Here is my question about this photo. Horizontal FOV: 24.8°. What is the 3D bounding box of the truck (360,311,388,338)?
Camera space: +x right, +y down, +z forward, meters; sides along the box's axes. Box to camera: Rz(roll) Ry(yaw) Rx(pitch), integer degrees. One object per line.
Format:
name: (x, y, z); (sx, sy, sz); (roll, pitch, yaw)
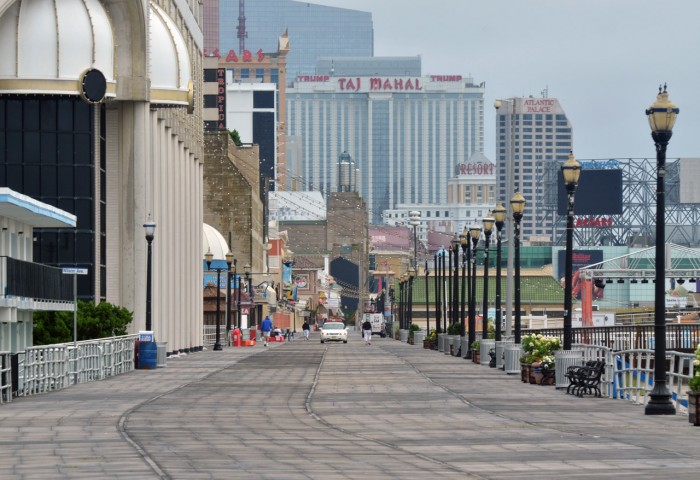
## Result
truck: (2.576, 8.350, 154.617); (2.064, 2.131, 3.372); (0, 3, -4)

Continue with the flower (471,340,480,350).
flower: (6.092, 4.968, 76.396); (0.345, 0.327, 0.391); (3, 2, 29)

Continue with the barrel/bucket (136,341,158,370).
barrel/bucket: (-8.965, 4.999, 69.852); (1.048, 1.555, 1.073); (0, 0, 0)

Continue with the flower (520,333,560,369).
flower: (7.251, 4.159, 60.632); (1.094, 0.906, 1.231); (2, -4, 6)
